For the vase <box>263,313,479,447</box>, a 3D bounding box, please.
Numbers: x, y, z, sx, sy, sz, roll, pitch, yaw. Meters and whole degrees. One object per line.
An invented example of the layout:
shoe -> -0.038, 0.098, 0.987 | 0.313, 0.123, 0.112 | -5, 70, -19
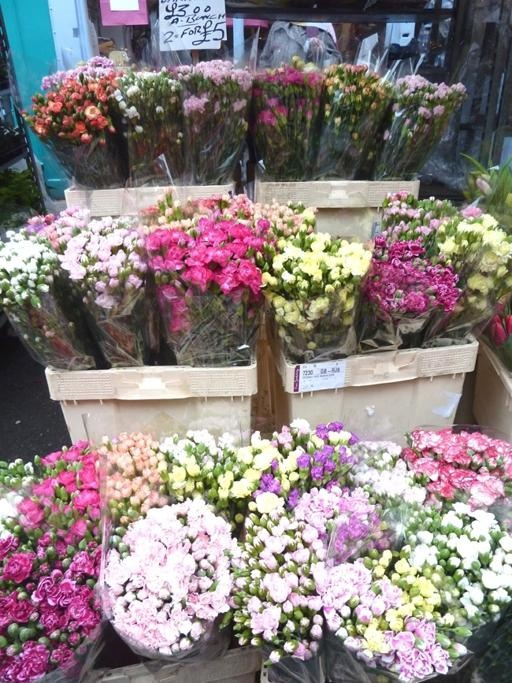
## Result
vase -> 0.413, 0.174, 1.619 | 0.584, 0.310, 0.451 | -4, 23, -6

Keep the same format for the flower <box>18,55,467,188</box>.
flower -> -0.083, -1.061, 2.286 | 1.998, 0.540, 0.547 | -7, 36, -11

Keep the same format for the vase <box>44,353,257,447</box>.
vase -> -0.332, 0.178, 1.410 | 0.457, 0.199, 0.342 | -2, 22, -4
